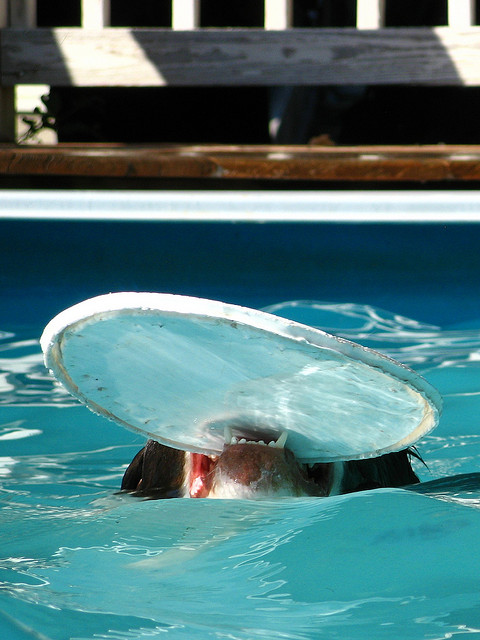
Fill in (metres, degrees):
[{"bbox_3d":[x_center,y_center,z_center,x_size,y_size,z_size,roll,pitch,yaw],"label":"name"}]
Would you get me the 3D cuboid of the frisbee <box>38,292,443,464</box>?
[{"bbox_3d":[0.004,0.139,2.062,0.783,0.426,0.384,1,11,2],"label":"frisbee"}]
